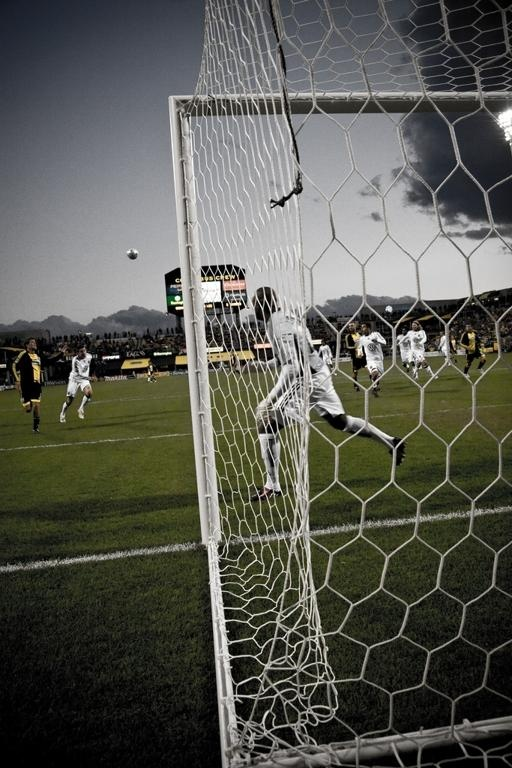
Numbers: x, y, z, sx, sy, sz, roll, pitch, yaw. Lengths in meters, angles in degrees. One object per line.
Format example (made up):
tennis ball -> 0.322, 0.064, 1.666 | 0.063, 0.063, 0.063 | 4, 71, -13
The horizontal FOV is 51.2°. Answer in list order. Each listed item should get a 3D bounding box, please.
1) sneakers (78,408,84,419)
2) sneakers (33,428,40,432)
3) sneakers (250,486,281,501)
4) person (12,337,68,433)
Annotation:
sneakers -> -2.995, 0.519, 9.241 | 0.131, 0.171, 0.379 | 1, -5, -29
sneakers -> -3.233, 0.672, 7.885 | 0.043, 0.058, 0.130 | 6, 7, -11
sneakers -> 0.060, 0.683, 3.343 | 0.215, 0.097, 0.082 | 0, -6, -4
person -> -3.422, 0.027, 8.099 | 0.371, 1.382, 1.634 | -5, 4, -23
